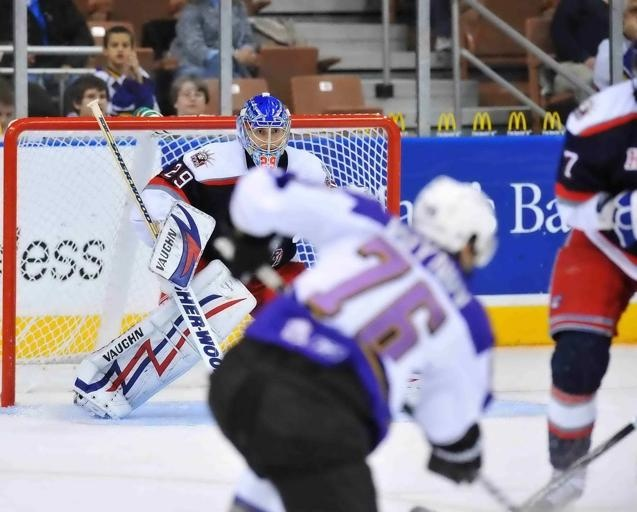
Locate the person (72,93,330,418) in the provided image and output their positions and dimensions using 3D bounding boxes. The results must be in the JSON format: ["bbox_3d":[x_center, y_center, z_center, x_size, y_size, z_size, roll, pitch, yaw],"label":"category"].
[{"bbox_3d":[-0.384,0.011,4.422,1.212,1.562,0.750,7,-19,-2],"label":"person"}]

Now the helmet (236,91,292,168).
[{"bbox_3d":[-0.241,-0.511,4.298,0.209,0.288,0.277,0,29,-11],"label":"helmet"}]
